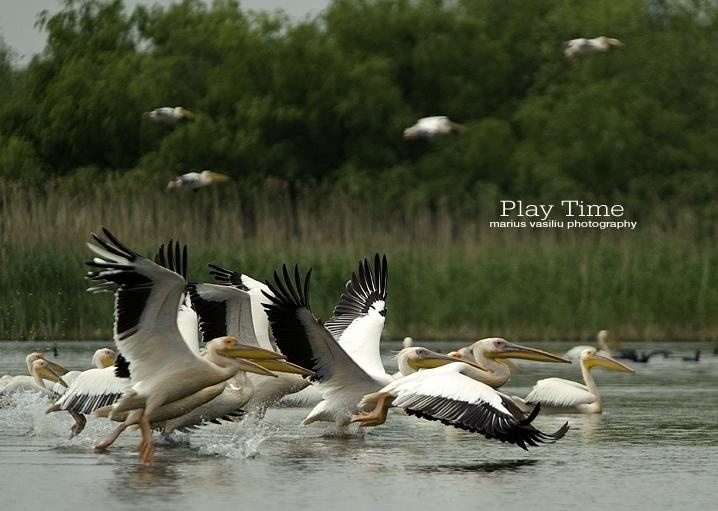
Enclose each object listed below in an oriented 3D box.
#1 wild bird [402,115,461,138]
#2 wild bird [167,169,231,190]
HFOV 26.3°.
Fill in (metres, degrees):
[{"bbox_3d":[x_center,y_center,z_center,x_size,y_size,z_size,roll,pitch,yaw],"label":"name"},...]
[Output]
[{"bbox_3d":[1.240,-2.524,30.856,0.978,0.215,0.914,-8,3,-40],"label":"wild bird"},{"bbox_3d":[-3.197,-1.469,30.305,1.061,0.348,1.019,-3,-1,-6],"label":"wild bird"}]
